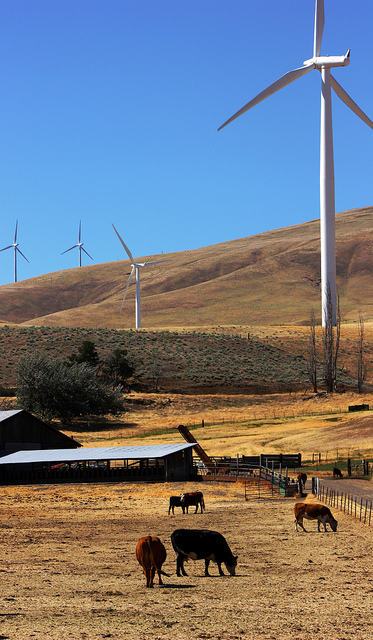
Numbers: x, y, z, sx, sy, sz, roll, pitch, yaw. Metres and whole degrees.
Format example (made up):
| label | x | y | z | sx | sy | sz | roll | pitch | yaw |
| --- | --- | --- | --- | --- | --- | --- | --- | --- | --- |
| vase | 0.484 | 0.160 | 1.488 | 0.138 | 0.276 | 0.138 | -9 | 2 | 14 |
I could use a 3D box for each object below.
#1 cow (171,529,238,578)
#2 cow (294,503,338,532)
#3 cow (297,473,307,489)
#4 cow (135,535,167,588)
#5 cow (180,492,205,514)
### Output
| label | x | y | z | sx | sy | sz | roll | pitch | yaw |
| --- | --- | --- | --- | --- | --- | --- | --- | --- | --- |
| cow | 0.350 | 5.826 | 33.557 | 1.447 | 1.276 | 2.475 | -6 | -6 | 31 |
| cow | 4.004 | 6.185 | 41.990 | 1.287 | 0.916 | 0.781 | -4 | -5 | 8 |
| cow | 4.624 | 6.340 | 53.481 | 0.277 | 0.845 | 1.276 | 2 | 0 | 9 |
| cow | -0.833 | 5.797 | 32.222 | 0.668 | 1.240 | 1.824 | -2 | -5 | -2 |
| cow | 0.252 | 6.271 | 46.792 | 0.389 | 0.911 | 1.321 | -10 | -18 | 40 |
